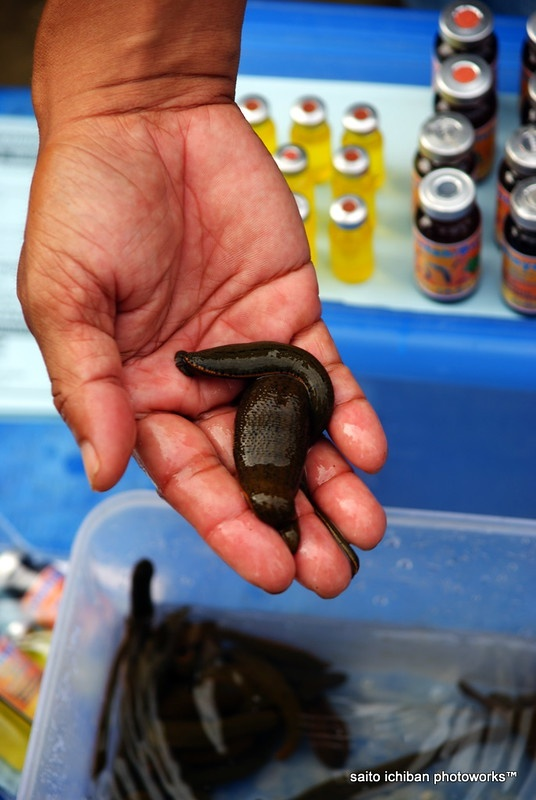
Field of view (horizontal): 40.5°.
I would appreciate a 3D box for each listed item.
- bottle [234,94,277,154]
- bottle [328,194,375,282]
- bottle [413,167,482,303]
[{"bbox_3d":[-0.024,-0.769,2.042,0.089,0.182,0.232,-8,47,3],"label":"bottle"},{"bbox_3d":[0.212,-0.423,1.876,0.117,0.257,0.175,-2,48,8],"label":"bottle"},{"bbox_3d":[0.437,-0.395,1.760,0.170,0.371,0.199,3,50,13],"label":"bottle"}]
